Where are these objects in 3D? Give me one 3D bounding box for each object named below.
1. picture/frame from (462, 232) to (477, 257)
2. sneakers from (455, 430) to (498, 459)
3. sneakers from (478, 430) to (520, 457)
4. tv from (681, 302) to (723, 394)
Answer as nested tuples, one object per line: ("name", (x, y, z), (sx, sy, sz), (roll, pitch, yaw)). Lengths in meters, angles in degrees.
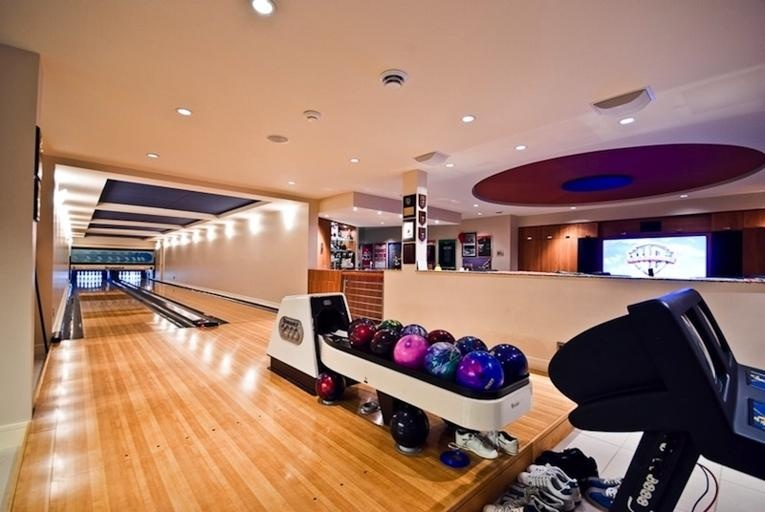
("picture/frame", (2.469, -0.350, 13.148), (0.108, 0.679, 0.505), (0, 1, -36))
("sneakers", (0.875, 1.759, 4.404), (0.407, 0.153, 0.166), (3, 6, 32))
("sneakers", (1.120, 1.725, 4.363), (0.389, 0.159, 0.157), (15, 11, 37))
("tv", (2.128, 0.609, 3.082), (0.370, 0.448, 0.118), (-25, -4, -45))
